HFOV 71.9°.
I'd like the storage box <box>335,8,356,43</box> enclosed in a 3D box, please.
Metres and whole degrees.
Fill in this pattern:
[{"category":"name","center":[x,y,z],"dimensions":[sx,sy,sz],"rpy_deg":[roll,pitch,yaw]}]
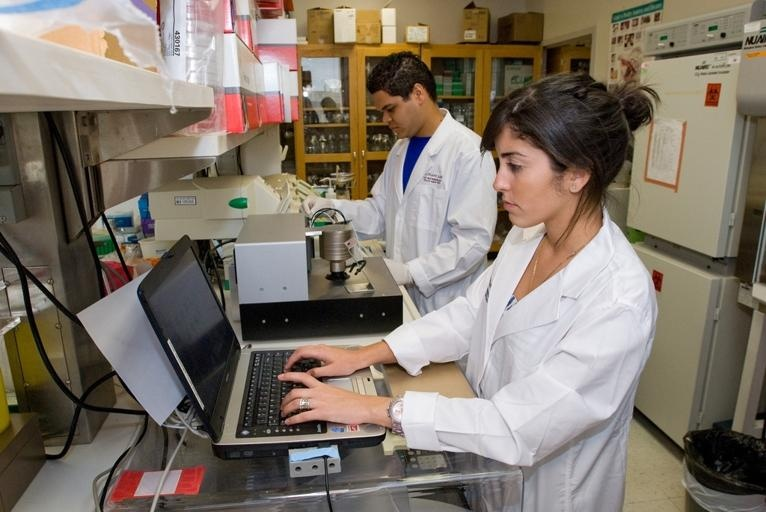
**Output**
[{"category":"storage box","center":[-0.344,-2.065,4.725],"dimensions":[0.246,0.349,0.195],"rpy_deg":[-1,11,-4]}]

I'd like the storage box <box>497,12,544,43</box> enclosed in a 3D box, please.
[{"category":"storage box","center":[1.310,-2.196,5.103],"dimensions":[0.351,0.225,0.358],"rpy_deg":[-3,25,-3]}]

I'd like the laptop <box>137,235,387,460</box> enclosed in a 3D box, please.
[{"category":"laptop","center":[-0.257,0.274,1.412],"dimensions":[0.533,0.425,0.611],"rpy_deg":[-5,18,-7]}]

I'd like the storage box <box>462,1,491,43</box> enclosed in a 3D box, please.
[{"category":"storage box","center":[0.886,-2.206,5.078],"dimensions":[0.243,0.317,0.115],"rpy_deg":[-3,17,1]}]

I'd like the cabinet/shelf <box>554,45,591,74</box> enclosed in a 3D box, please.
[{"category":"cabinet/shelf","center":[1.817,-1.907,5.133],"dimensions":[0.333,0.247,0.245],"rpy_deg":[0,17,13]}]

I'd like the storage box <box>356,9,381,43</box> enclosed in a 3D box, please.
[{"category":"storage box","center":[-0.210,-2.122,4.908],"dimensions":[0.332,0.277,0.342],"rpy_deg":[-7,24,-16]}]

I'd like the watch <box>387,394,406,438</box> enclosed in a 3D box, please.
[{"category":"watch","center":[0.031,0.404,1.329],"dimensions":[0.047,0.075,0.077],"rpy_deg":[3,38,3]}]

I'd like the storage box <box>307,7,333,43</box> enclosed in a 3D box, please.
[{"category":"storage box","center":[-0.579,-2.112,4.860],"dimensions":[0.286,0.403,0.210],"rpy_deg":[0,17,-3]}]

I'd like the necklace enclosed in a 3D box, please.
[{"category":"necklace","center":[0.504,0.022,1.542],"dimensions":[0.055,0.226,0.124],"rpy_deg":[38,34,0]}]

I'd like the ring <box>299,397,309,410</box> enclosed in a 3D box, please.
[{"category":"ring","center":[-0.198,0.374,1.330],"dimensions":[0.021,0.029,0.029],"rpy_deg":[2,16,-5]}]
